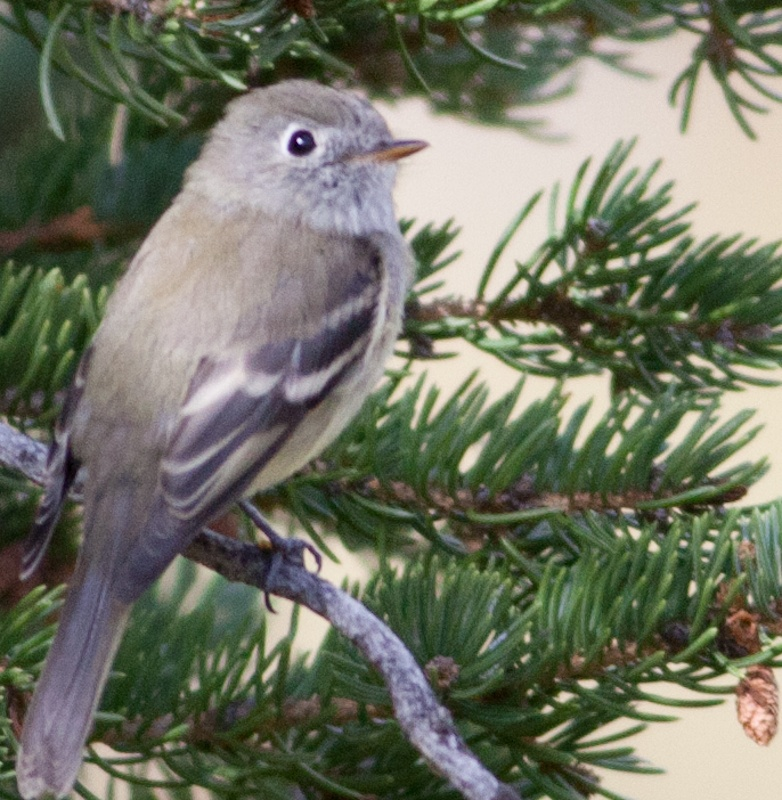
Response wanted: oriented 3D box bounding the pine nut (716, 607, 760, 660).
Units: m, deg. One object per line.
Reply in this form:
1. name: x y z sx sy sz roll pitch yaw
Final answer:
1. pine nut: 0.472 0.321 1.607 0.050 0.024 0.065 1 -77 12

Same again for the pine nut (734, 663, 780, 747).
1. pine nut: 0.477 0.392 1.554 0.055 0.120 0.087 0 -48 17

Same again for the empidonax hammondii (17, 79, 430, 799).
1. empidonax hammondii: -0.262 -0.019 1.829 0.467 1.270 0.462 15 -45 3
